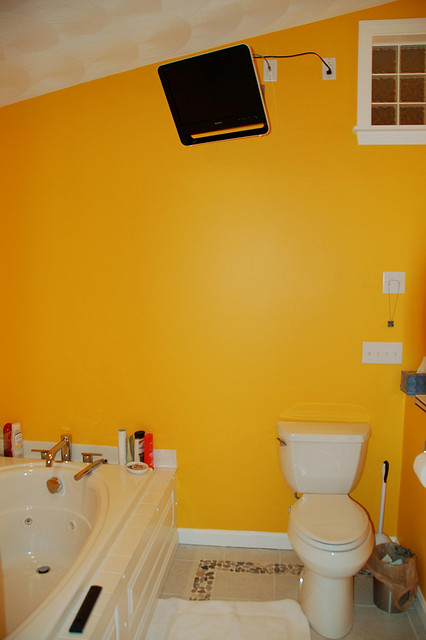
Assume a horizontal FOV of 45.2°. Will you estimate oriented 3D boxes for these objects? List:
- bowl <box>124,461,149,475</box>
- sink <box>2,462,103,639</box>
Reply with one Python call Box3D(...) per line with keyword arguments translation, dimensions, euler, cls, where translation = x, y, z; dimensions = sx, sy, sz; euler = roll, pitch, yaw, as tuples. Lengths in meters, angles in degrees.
Box3D(translation=(-0.359, 0.698, 2.392), dimensions=(0.111, 0.038, 0.091), euler=(2, 5, -4), cls="bowl")
Box3D(translation=(-0.732, 0.917, 2.085), dimensions=(0.382, 0.224, 0.567), euler=(2, 23, 3), cls="sink")
